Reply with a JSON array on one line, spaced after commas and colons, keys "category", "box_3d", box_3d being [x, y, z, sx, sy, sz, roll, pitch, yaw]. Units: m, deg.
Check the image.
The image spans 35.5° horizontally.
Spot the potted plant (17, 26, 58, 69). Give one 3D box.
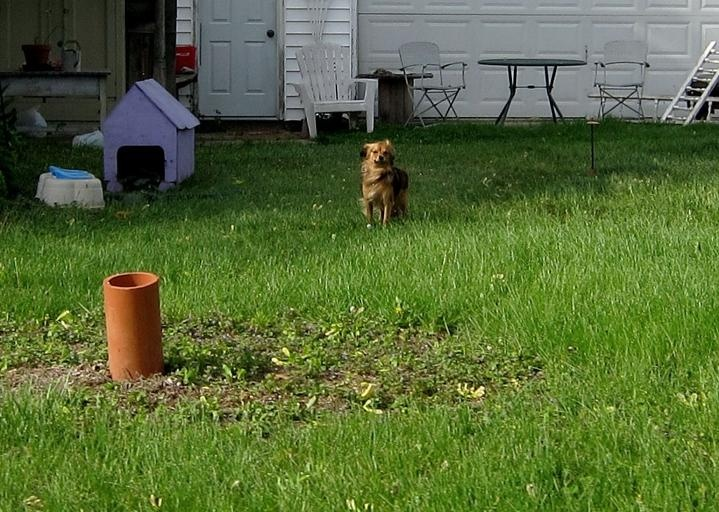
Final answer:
[{"category": "potted plant", "box_3d": [-3.729, -2.374, 12.943, 0.274, 0.446, 0.474, 4, 11, -4]}]

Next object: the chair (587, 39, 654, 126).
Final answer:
[{"category": "chair", "box_3d": [3.995, -2.727, 17.344, 0.953, 1.458, 0.875, 2, -1, -44]}]

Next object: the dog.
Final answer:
[{"category": "dog", "box_3d": [0.166, -0.683, 10.074, 0.387, 0.743, 0.515, 3, 13, 21]}]
